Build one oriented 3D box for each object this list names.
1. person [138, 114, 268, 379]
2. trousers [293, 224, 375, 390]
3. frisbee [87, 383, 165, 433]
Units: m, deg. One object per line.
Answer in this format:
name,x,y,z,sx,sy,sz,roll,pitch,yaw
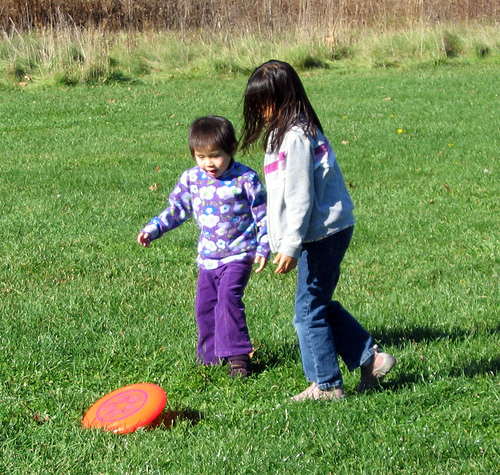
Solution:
person,-0.346,0.073,7.130,0.835,2.424,0.704,0,26,0
trousers,0.653,0.386,6.508,0.572,1.737,0.476,-21,27,-29
frisbee,-0.949,1.318,6.440,0.561,0.237,0.339,0,14,10
